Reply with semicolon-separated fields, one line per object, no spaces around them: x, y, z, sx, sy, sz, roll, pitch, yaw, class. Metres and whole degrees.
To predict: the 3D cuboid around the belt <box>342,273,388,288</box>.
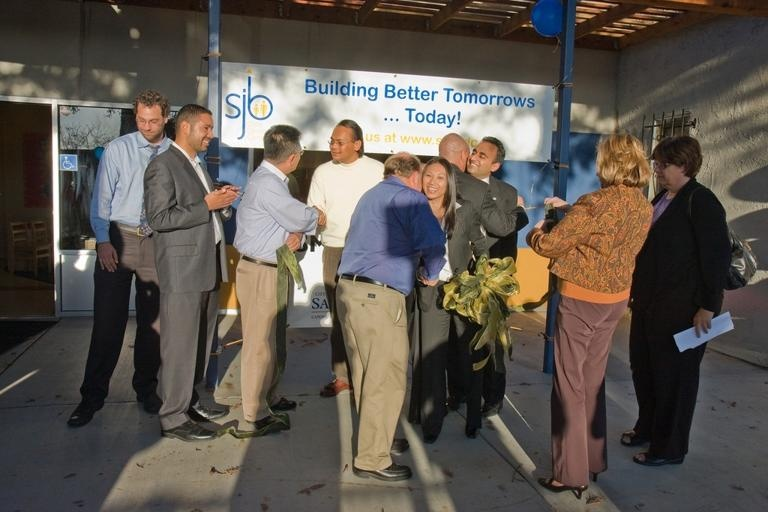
-0.189;0.204;5.457;0.171;0.045;0.176;15;8;-25;belt

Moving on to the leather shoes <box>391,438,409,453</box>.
0.143;1.751;5.873;0.173;0.140;0.315;2;-7;-4;leather shoes

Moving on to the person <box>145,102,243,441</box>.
-1.789;0.152;5.943;0.662;2.993;0.844;9;16;29;person

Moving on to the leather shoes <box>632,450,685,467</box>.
2.487;1.844;5.784;0.399;0.122;0.170;1;2;2;leather shoes

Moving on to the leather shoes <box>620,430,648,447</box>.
2.369;1.733;6.083;0.226;0.100;0.125;3;11;2;leather shoes

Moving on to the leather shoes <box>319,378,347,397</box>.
-0.535;1.413;6.876;0.260;0.115;0.147;-1;2;-29;leather shoes

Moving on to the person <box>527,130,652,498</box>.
1.732;0.502;5.387;0.868;2.967;0.601;-5;15;-23;person

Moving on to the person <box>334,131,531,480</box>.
0.014;0.530;5.559;0.817;2.681;0.774;-2;14;-12;person
